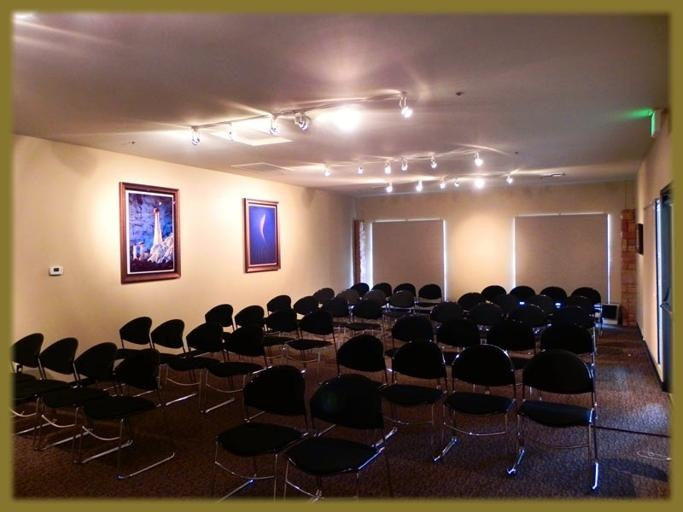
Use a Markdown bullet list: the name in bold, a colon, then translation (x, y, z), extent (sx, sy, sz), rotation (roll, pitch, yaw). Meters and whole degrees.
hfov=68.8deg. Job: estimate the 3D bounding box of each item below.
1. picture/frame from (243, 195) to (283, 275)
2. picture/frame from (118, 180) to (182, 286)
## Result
- **picture/frame**: translation (-1.607, -0.400, 10.112), extent (0.090, 1.469, 1.063), rotation (-1, -2, 30)
- **picture/frame**: translation (-2.991, -0.337, 7.852), extent (0.039, 1.537, 1.088), rotation (-1, -2, 33)
